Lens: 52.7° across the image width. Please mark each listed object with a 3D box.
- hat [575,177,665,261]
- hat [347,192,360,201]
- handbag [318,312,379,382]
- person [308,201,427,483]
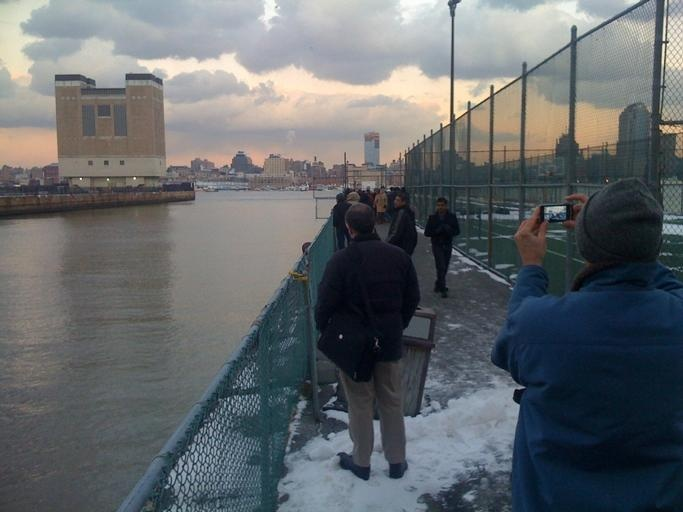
[{"bbox_3d":[1.292,-0.201,3.243,0.310,0.376,0.380,5,29,15],"label":"hat"},{"bbox_3d":[0.214,-1.077,12.509,0.168,0.196,0.234,-2,1,-9],"label":"hat"},{"bbox_3d":[0.068,0.676,5.300,0.490,0.422,0.184,30,15,11],"label":"handbag"},{"bbox_3d":[0.226,0.687,5.490,0.847,2.147,0.479,-7,7,-6],"label":"person"}]
